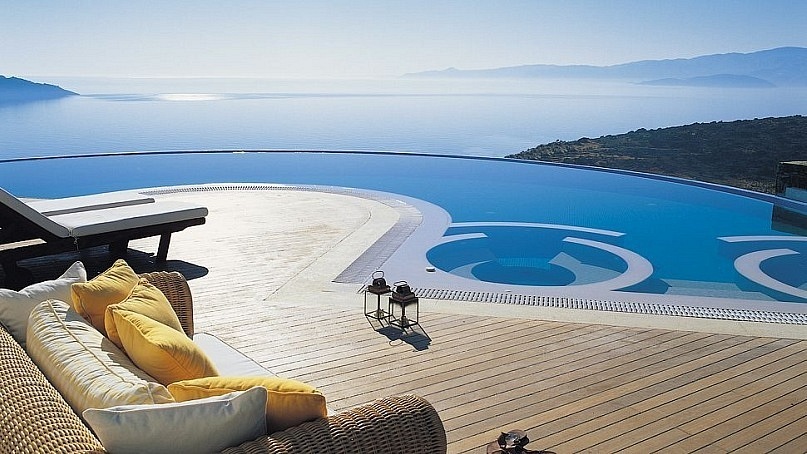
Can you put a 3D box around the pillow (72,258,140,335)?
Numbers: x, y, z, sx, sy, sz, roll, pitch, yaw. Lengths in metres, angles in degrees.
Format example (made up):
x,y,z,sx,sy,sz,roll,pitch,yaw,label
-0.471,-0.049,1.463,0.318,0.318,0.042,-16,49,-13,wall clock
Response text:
x,y,z,sx,sy,sz,roll,pitch,yaw,label
-1.657,0.397,2.575,0.207,0.222,0.407,-10,12,12,pillow
